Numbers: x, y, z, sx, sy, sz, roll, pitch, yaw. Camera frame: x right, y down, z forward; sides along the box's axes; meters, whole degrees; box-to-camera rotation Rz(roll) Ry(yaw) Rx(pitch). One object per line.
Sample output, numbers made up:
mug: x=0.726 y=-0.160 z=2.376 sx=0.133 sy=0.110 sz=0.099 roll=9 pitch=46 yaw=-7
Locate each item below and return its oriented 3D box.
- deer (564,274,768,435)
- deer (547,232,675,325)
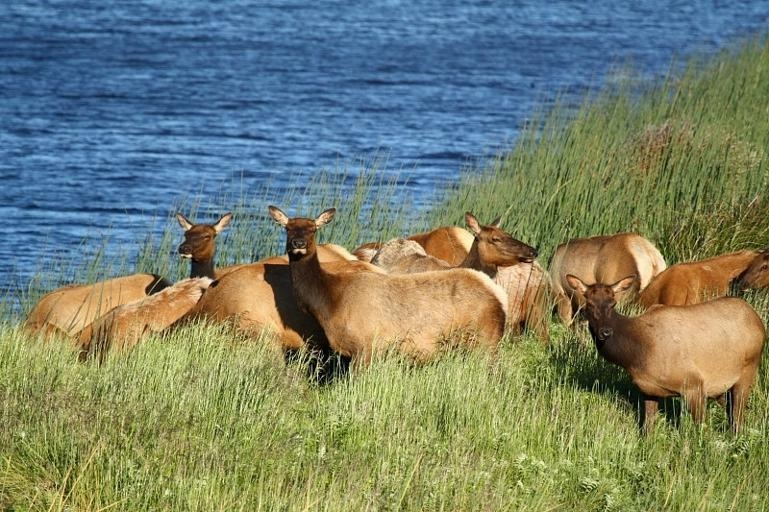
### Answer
deer: x=3.639 y=1.425 z=14.706 sx=2.293 sy=1.695 sz=1.155 roll=12 pitch=41 yaw=6
deer: x=3.245 y=0.271 z=17.336 sx=1.464 sy=1.477 sz=2.966 roll=0 pitch=-4 yaw=-20
